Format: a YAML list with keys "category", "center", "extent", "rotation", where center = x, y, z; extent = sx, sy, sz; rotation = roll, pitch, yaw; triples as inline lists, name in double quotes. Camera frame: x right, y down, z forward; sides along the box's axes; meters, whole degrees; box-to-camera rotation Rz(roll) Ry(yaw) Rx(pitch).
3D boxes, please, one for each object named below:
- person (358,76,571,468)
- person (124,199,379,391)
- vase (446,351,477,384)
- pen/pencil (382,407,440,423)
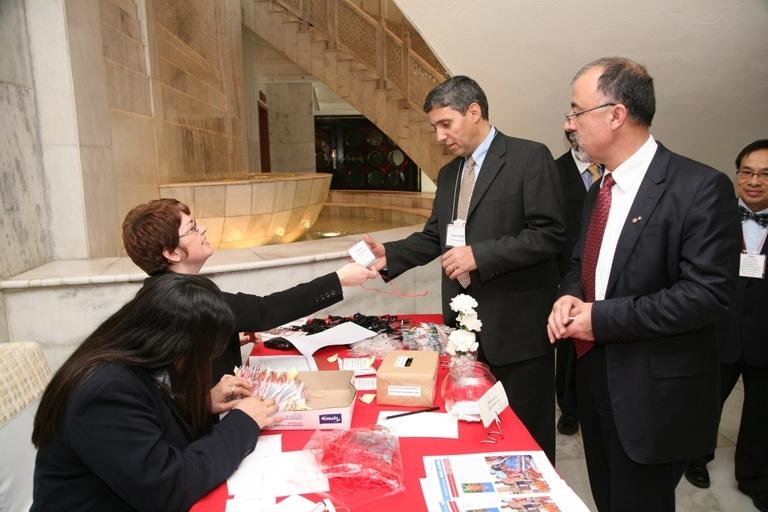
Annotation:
- category: "person"
  center: [0.465, 0.246, 2.936]
  extent: [1.094, 2.277, 0.786]
  rotation: [2, 14, 33]
- category: "person"
  center: [-0.770, 0.480, 2.578]
  extent: [1.056, 1.416, 0.548]
  rotation: [5, 18, -23]
- category: "vase"
  center: [0.318, 0.463, 2.069]
  extent: [0.099, 0.108, 0.106]
  rotation: [0, -3, 0]
- category: "pen/pencil"
  center: [0.115, 0.633, 2.015]
  extent: [0.200, 0.014, 0.014]
  rotation: [-6, 20, -17]
